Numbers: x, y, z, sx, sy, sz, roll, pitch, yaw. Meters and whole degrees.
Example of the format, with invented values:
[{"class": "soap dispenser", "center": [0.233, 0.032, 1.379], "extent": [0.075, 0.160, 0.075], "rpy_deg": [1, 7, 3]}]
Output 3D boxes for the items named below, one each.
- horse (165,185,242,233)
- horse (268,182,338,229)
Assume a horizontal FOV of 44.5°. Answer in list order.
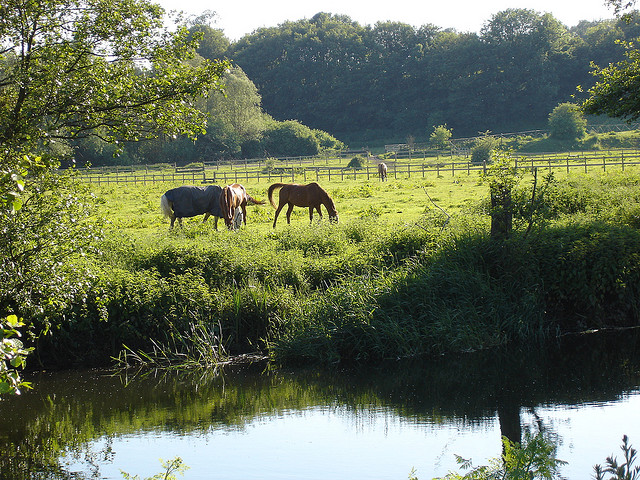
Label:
[{"class": "horse", "center": [-3.845, -1.173, 25.975], "extent": [2.448, 1.411, 1.705], "rpy_deg": [-1, -4, 7]}, {"class": "horse", "center": [-0.567, -1.222, 26.789], "extent": [2.546, 1.684, 0.641], "rpy_deg": [5, 11, 19]}]
